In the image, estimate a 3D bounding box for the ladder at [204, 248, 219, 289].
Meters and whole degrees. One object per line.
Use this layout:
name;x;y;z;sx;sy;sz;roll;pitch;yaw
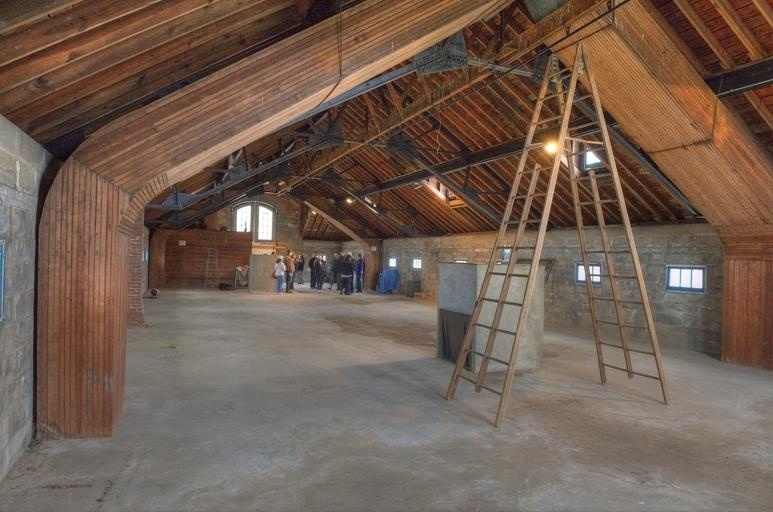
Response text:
ladder;-7.435;0.507;21.049;0.539;1.629;0.268;-1;8;-20

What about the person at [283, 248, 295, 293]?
person;-3.766;0.626;19.266;0.320;1.581;0.704;-1;8;-17

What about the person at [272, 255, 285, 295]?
person;-4.085;0.748;19.005;0.457;1.408;1.122;0;7;-13

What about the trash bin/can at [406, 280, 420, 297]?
trash bin/can;1.053;1.233;18.633;0.550;0.720;0.532;2;4;-3
